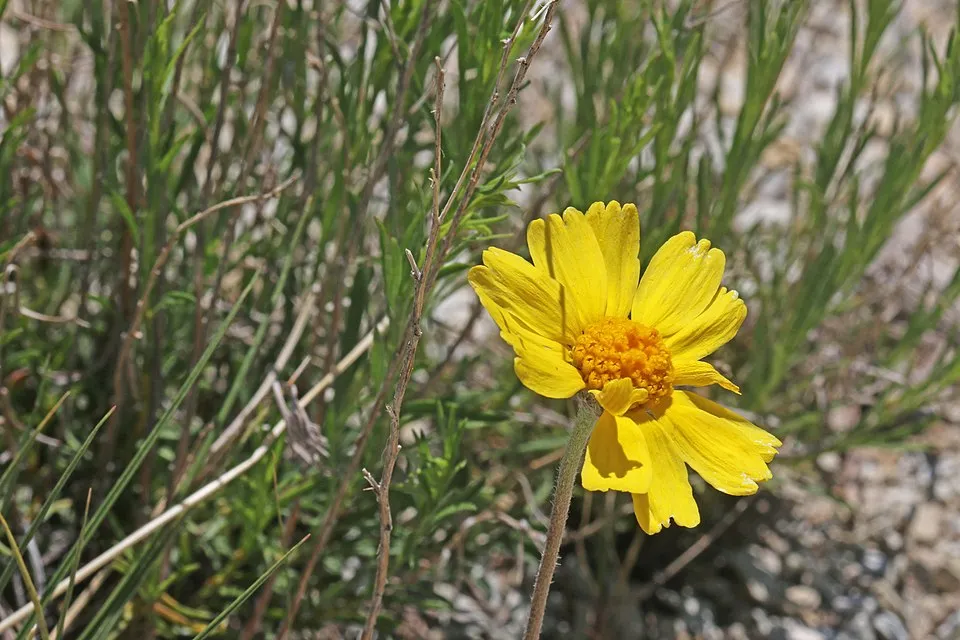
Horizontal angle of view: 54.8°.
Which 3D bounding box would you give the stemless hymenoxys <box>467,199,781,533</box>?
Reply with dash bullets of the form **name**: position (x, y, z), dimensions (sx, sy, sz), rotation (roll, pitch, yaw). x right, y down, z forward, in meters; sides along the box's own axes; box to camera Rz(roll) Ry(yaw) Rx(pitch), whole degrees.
- **stemless hymenoxys**: position (0.242, 0.112, 1.745), dimensions (0.570, 0.255, 0.666), rotation (3, 34, -40)
